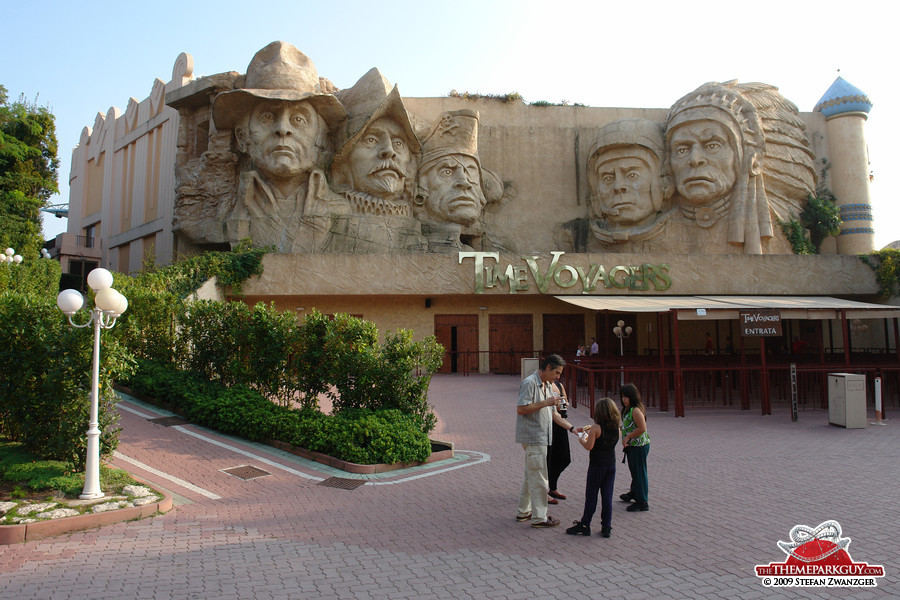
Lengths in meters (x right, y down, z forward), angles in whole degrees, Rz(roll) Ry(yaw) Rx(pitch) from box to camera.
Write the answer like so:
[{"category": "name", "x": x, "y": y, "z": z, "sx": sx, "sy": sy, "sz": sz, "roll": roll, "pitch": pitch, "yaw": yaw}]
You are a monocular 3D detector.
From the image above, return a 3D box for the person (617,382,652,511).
[{"category": "person", "x": 3.641, "y": 2.904, "z": 14.546, "sx": 0.543, "sy": 2.465, "sz": 0.772, "roll": -3, "pitch": -7, "yaw": 11}]

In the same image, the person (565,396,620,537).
[{"category": "person", "x": 2.709, "y": 3.126, "z": 13.751, "sx": 0.835, "sy": 2.518, "sz": 0.863, "roll": 1, "pitch": -7, "yaw": -20}]

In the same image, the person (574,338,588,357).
[{"category": "person", "x": 5.764, "y": 2.118, "z": 32.443, "sx": 0.566, "sy": 1.104, "sz": 0.580, "roll": 2, "pitch": -4, "yaw": -1}]
